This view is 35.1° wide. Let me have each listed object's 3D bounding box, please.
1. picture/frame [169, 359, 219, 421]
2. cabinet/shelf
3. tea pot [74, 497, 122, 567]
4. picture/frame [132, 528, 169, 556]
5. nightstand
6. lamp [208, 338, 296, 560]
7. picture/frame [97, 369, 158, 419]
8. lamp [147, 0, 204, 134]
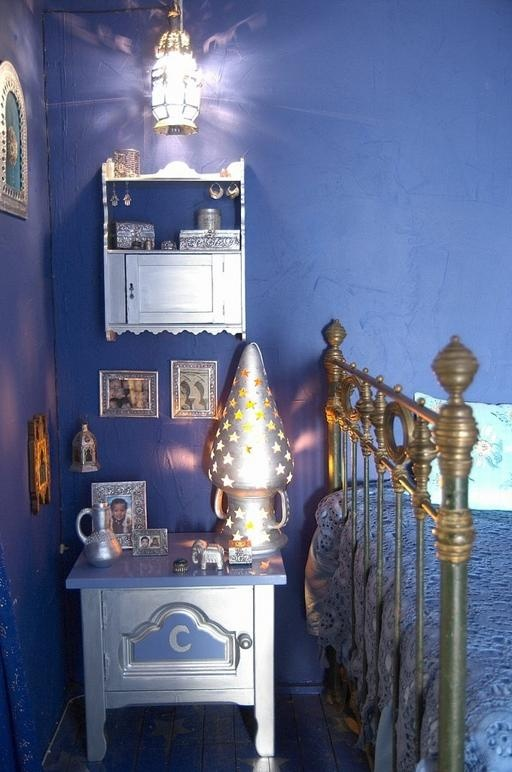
[{"bbox_3d":[-0.203,0.004,2.644,0.201,0.255,0.011,0,3,-3],"label":"picture/frame"},{"bbox_3d":[-0.256,-0.420,2.558,0.442,0.551,0.172,-1,10,-6],"label":"cabinet/shelf"},{"bbox_3d":[-0.436,0.435,2.418,0.163,0.222,0.151,2,-1,0],"label":"tea pot"},{"bbox_3d":[-0.313,0.465,2.410,0.077,0.056,0.008,0,1,-1],"label":"picture/frame"},{"bbox_3d":[-0.226,0.732,2.480,0.596,0.568,0.453,-1,15,-4],"label":"nightstand"},{"bbox_3d":[-0.016,0.186,2.487,0.247,0.627,0.336,0,6,-1],"label":"lamp"},{"bbox_3d":[-0.424,0.019,2.638,0.161,0.134,0.011,0,3,-3],"label":"picture/frame"},{"bbox_3d":[-0.222,-0.829,2.194,0.127,0.268,0.165,-3,7,-32],"label":"lamp"}]
